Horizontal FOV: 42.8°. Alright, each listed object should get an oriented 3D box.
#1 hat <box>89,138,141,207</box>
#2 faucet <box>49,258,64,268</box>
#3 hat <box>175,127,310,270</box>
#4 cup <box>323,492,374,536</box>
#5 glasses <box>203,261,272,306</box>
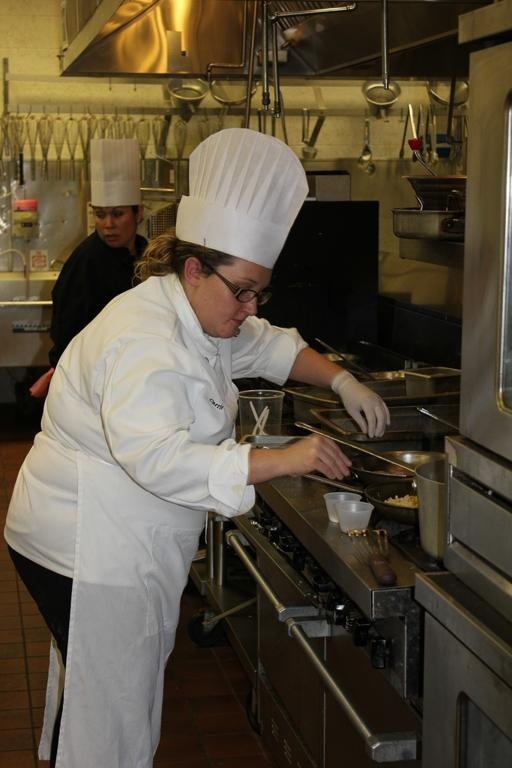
[{"bbox_3d":[-0.748,-1.134,3.484,0.258,0.389,0.415,-3,12,-11],"label":"hat"},{"bbox_3d":[-1.738,-1.072,5.734,0.089,0.097,0.078,3,1,-4],"label":"faucet"},{"bbox_3d":[-0.019,-0.316,1.301,0.248,0.284,0.235,10,5,-5],"label":"hat"},{"bbox_3d":[0.185,0.256,1.276,0.055,0.032,0.079,-1,3,-18],"label":"cup"},{"bbox_3d":[-0.033,-0.165,1.161,0.086,0.025,0.083,43,19,17],"label":"glasses"}]
